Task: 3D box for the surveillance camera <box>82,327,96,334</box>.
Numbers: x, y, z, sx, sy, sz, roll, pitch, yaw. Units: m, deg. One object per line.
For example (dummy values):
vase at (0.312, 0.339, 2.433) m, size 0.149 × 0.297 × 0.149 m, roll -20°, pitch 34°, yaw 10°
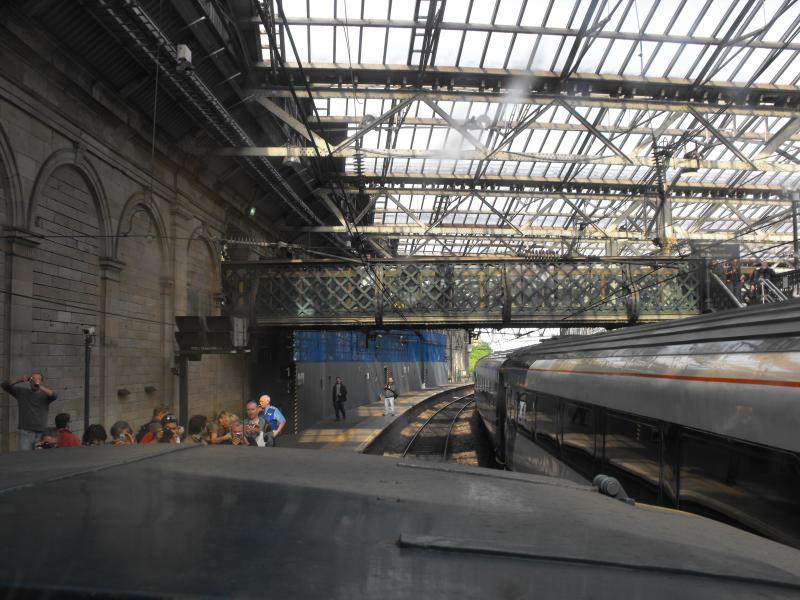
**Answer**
surveillance camera at (-6.200, 0.602, 12.008) m, size 0.134 × 0.128 × 0.178 m, roll -1°, pitch -9°, yaw -11°
